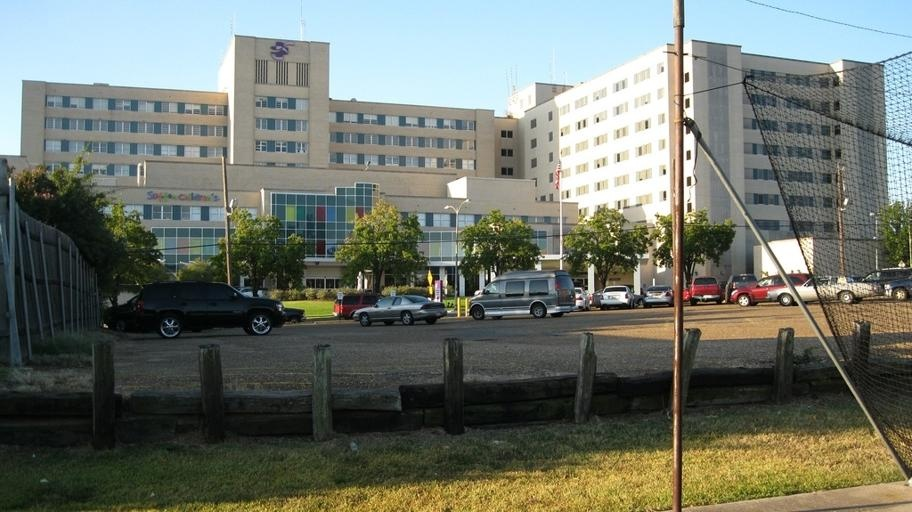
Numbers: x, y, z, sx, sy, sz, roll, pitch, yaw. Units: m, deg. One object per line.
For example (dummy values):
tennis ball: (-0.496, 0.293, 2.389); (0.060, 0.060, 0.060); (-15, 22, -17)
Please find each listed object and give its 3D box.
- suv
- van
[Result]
suv: (-11.336, 2.318, 48.838); (5.858, 2.556, 1.040); (-2, -1, -17)
van: (4.211, 2.146, 58.924); (6.236, 2.636, 2.477); (-3, -6, 19)
